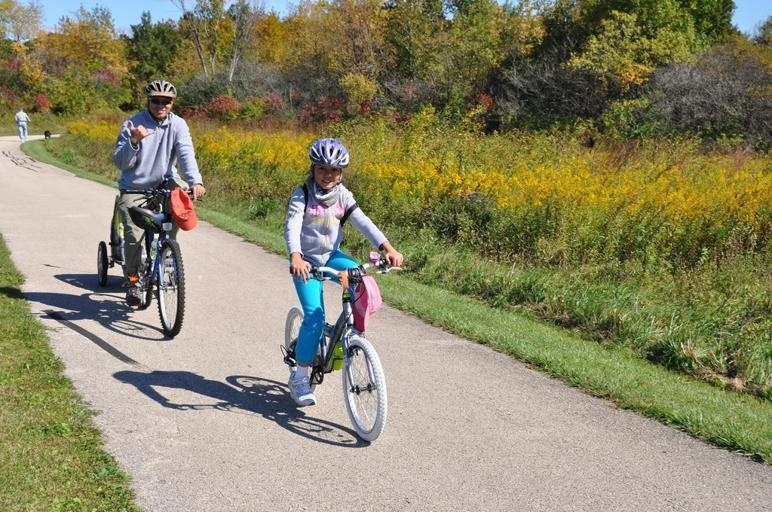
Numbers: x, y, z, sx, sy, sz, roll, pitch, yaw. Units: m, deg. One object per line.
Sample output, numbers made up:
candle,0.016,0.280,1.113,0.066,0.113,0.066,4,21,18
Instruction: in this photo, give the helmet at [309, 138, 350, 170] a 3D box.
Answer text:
helmet,-0.704,-1.265,10.154,0.451,0.371,0.248,7,8,5

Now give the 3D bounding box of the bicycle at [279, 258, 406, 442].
bicycle,-0.463,1.099,10.148,1.171,2.343,0.656,8,8,11

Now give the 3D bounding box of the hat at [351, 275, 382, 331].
hat,-0.266,0.567,9.989,0.305,0.630,0.399,14,27,32

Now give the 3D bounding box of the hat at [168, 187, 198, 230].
hat,-3.031,-0.631,12.059,0.356,0.634,0.234,-21,0,-26

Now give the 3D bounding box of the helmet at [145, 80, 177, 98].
helmet,-3.432,-2.525,12.405,0.419,0.265,0.402,4,8,-18

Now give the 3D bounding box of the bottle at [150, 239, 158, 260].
bottle,-3.572,-0.112,12.639,0.112,0.370,0.146,1,1,-38

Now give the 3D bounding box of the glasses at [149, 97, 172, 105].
glasses,-3.446,-2.354,12.459,0.334,0.130,0.238,5,8,-17
